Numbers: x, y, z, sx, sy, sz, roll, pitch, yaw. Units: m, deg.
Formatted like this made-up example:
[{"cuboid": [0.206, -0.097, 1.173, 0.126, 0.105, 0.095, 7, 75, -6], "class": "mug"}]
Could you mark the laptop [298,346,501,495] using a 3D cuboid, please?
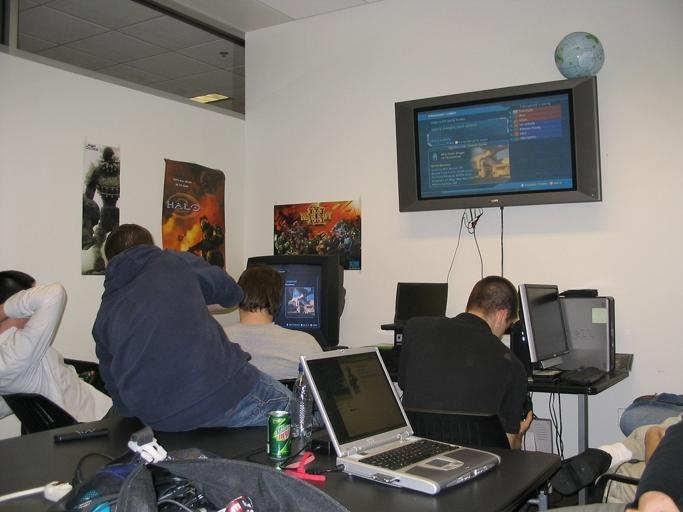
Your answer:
[{"cuboid": [0.164, 0.468, 1.829, 0.408, 0.358, 0.478, -3, -3, -43], "class": "laptop"}]

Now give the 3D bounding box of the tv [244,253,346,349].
[{"cuboid": [-0.242, 0.291, 4.468, 0.948, 0.951, 0.601, 0, -3, 19], "class": "tv"}]

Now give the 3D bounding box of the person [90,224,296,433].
[{"cuboid": [-0.605, 0.318, 2.297, 0.753, 0.710, 0.441, -1, 4, -26], "class": "person"}]

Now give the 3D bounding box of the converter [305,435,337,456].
[{"cuboid": [-0.068, 0.647, 1.886, 0.077, 0.040, 0.058, -1, -5, 38], "class": "converter"}]

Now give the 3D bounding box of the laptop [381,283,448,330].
[{"cuboid": [0.542, 0.335, 4.078, 0.451, 0.436, 0.334, -2, -10, 24], "class": "laptop"}]

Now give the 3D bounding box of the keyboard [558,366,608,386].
[{"cuboid": [1.441, 0.714, 3.334, 0.216, 0.036, 0.429, 4, 5, 35], "class": "keyboard"}]

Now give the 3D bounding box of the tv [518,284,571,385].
[{"cuboid": [1.181, 0.474, 3.283, 0.162, 0.521, 0.509, -15, -6, 33], "class": "tv"}]

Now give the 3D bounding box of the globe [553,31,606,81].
[{"cuboid": [1.521, -1.292, 3.566, 0.280, 0.315, 0.132, 2, 4, 22], "class": "globe"}]
